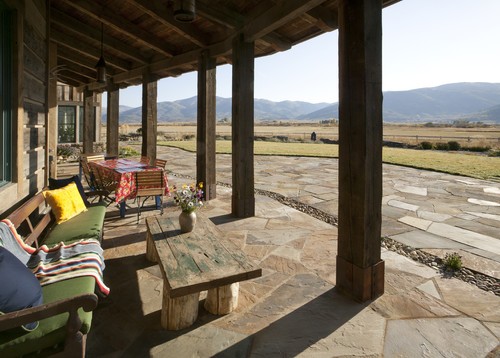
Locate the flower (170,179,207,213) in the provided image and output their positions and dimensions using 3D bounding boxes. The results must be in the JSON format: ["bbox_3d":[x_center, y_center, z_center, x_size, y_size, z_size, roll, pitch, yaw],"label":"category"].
[{"bbox_3d":[-1.138,0.368,5.359,0.737,0.743,0.669,1,5,-12],"label":"flower"}]

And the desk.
[{"bbox_3d":[-0.780,1.115,3.825,1.083,0.551,2.110,-2,8,-23],"label":"desk"}]
